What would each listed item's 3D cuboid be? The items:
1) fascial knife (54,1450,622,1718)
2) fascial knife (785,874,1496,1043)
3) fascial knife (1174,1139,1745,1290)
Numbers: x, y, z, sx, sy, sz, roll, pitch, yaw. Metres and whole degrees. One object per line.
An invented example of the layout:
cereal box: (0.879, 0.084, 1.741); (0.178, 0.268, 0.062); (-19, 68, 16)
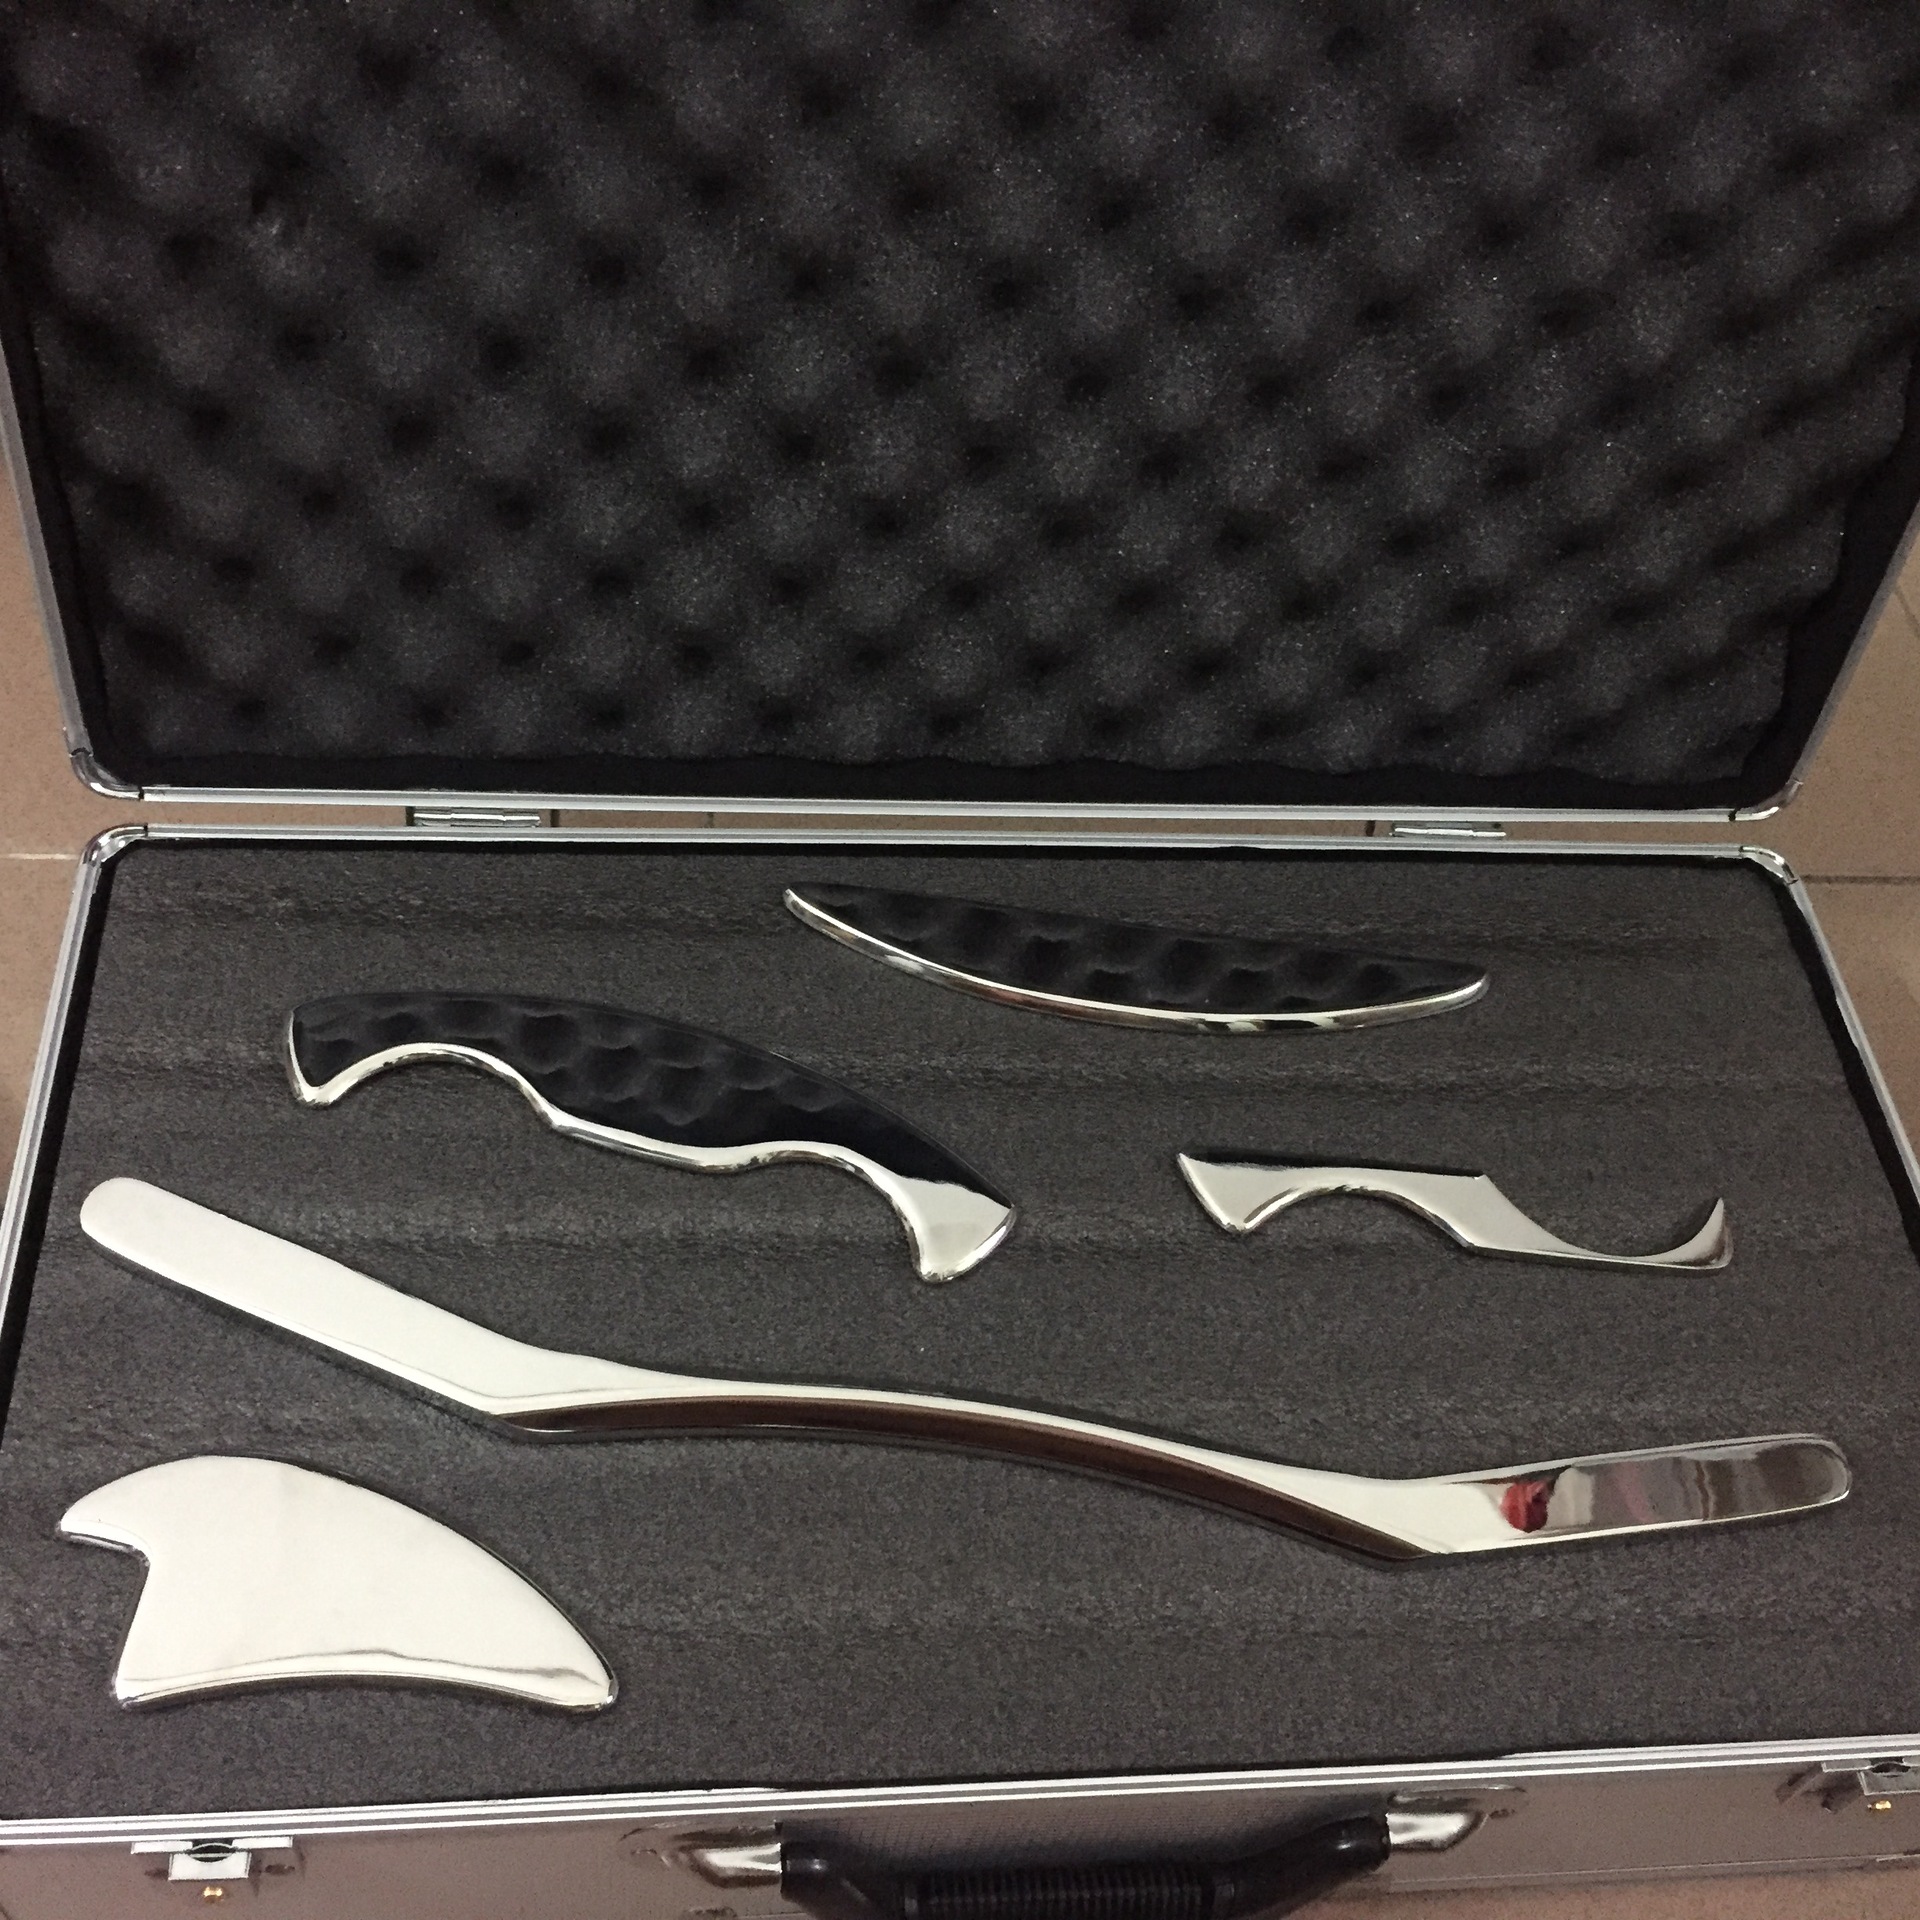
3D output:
fascial knife: (-0.275, 0.275, 1.072); (0.295, 0.111, 0.011); (5, -16, 27)
fascial knife: (0.084, 0.002, 1.267); (0.452, 0.035, 0.076); (5, 38, -2)
fascial knife: (0.280, 0.124, 1.209); (0.354, 0.010, 0.075); (3, 35, -4)
